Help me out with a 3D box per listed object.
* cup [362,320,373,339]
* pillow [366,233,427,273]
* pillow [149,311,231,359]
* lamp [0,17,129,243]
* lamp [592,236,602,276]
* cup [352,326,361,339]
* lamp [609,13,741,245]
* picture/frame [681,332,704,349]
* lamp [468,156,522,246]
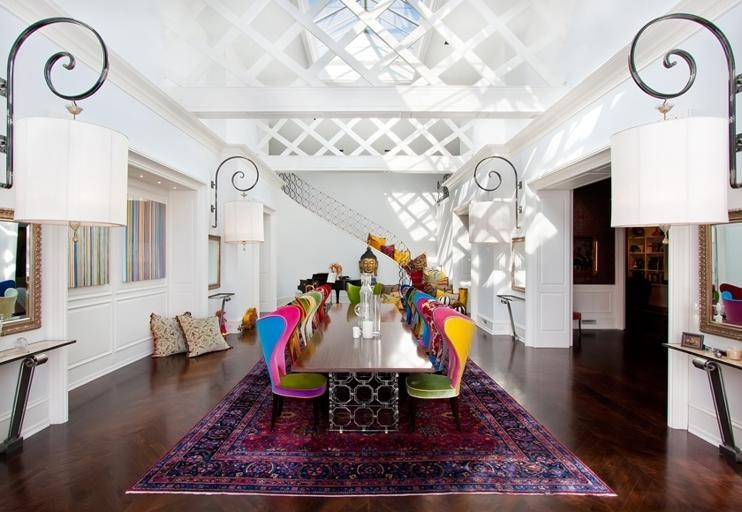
[{"bbox_3d":[-0.045,0.896,5.589,0.180,0.206,0.185,0,1,0],"label":"cup"},{"bbox_3d":[0.835,-0.073,14.909,1.539,0.346,1.407,14,6,-31],"label":"pillow"},{"bbox_3d":[-3.241,1.353,7.744,0.865,0.844,0.262,-2,-38,-37],"label":"pillow"},{"bbox_3d":[-3.074,-1.292,4.405,1.044,2.164,1.274,-11,17,-38],"label":"lamp"},{"bbox_3d":[4.940,-0.001,9.822,0.161,0.728,0.186,0,13,1],"label":"lamp"},{"bbox_3d":[-0.172,0.957,5.674,0.119,0.137,0.122,0,-2,0],"label":"cup"},{"bbox_3d":[3.065,-1.363,4.402,1.005,2.189,1.408,12,18,42],"label":"lamp"},{"bbox_3d":[3.600,0.938,5.035,0.025,0.117,0.149,10,-7,-31],"label":"picture/frame"},{"bbox_3d":[2.464,-1.158,9.265,0.820,1.810,1.433,-2,14,-8],"label":"lamp"}]
